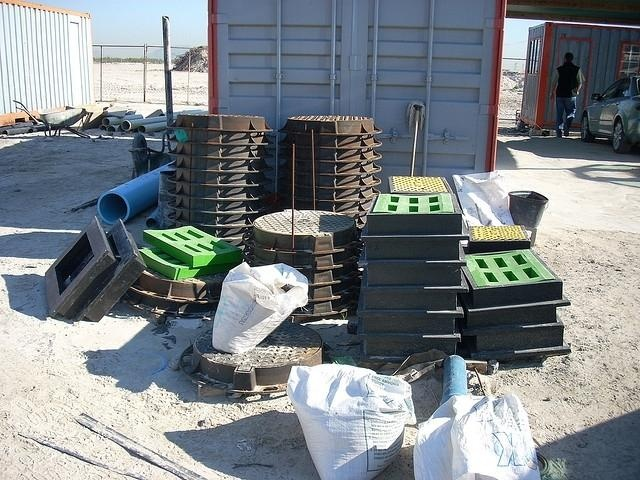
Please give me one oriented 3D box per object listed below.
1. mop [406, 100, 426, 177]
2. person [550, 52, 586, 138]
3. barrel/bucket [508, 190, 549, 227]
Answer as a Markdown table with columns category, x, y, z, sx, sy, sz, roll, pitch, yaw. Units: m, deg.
| category | x | y | z | sx | sy | sz | roll | pitch | yaw |
| --- | --- | --- | --- | --- | --- | --- | --- | --- | --- |
| mop | 1.261 | -1.219 | 7.270 | 0.279 | 1.075 | 0.211 | -13 | 30 | -19 |
| person | 7.500 | -4.364 | 16.318 | 0.753 | 2.551 | 1.315 | 10 | 20 | 20 |
| barrel/bucket | 2.545 | -0.393 | 6.808 | 0.741 | 0.361 | 0.519 | -5 | 14 | -20 |
